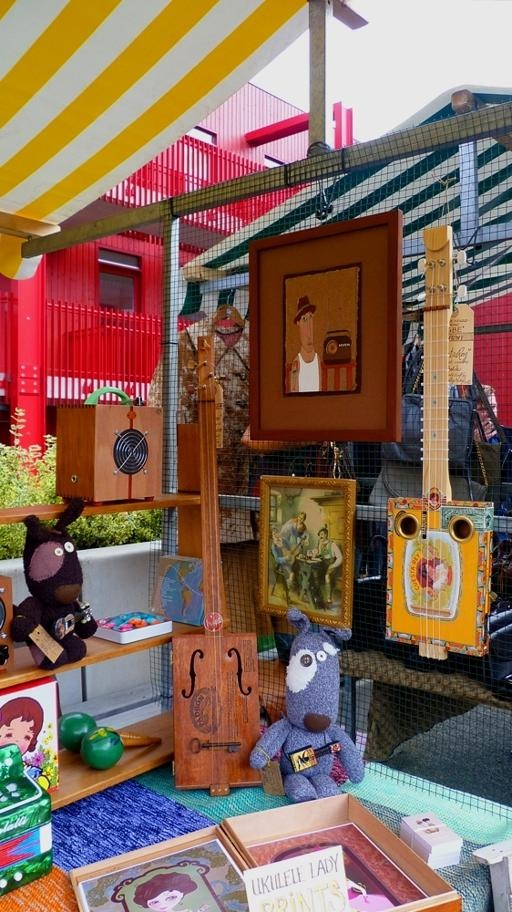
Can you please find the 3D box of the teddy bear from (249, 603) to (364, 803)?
[{"bbox_3d":[0.149,0.736,1.987,0.355,0.549,0.326,-1,-3,-7],"label":"teddy bear"}]

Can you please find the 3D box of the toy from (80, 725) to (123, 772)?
[{"bbox_3d":[-0.463,0.866,1.990,0.098,0.118,0.102,21,-18,-25],"label":"toy"}]

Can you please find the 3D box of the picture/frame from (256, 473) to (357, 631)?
[{"bbox_3d":[0.171,0.309,2.163,0.023,0.633,0.447,1,1,-44],"label":"picture/frame"}]

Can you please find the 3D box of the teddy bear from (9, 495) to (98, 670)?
[{"bbox_3d":[-0.573,0.360,1.892,0.155,0.461,0.350,-2,-3,23],"label":"teddy bear"}]

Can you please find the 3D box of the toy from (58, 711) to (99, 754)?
[{"bbox_3d":[-0.579,0.869,2.134,0.102,0.120,0.117,7,12,-12],"label":"toy"}]

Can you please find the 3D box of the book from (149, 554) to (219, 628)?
[{"bbox_3d":[-0.265,0.465,2.321,0.199,0.234,0.049,8,1,37],"label":"book"}]

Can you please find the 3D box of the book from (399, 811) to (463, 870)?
[{"bbox_3d":[0.416,0.872,1.579,0.099,0.084,0.146,0,9,-18],"label":"book"}]
